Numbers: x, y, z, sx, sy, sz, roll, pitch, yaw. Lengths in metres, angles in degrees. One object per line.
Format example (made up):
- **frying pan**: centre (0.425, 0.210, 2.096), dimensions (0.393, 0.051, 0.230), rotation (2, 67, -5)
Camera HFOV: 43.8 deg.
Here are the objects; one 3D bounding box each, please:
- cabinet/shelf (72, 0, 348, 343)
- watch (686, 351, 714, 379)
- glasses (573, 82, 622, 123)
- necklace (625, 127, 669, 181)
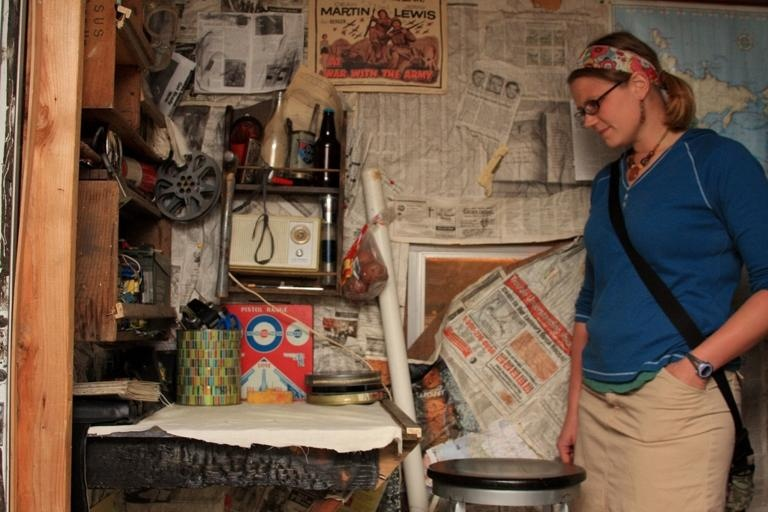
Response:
- **cabinet/shelf**: centre (-0.744, -0.287, 3.950), dimensions (1.310, 1.402, 0.346), rotation (3, -6, -16)
- **watch**: centre (1.127, 0.395, 3.435), dimensions (0.095, 0.073, 0.093), rotation (43, -1, 17)
- **glasses**: centre (0.825, -0.607, 3.651), dimensions (0.041, 0.140, 0.137), rotation (54, -11, -6)
- **necklace**: centre (0.997, -0.389, 3.675), dimensions (0.049, 0.203, 0.125), rotation (35, 1, -16)
